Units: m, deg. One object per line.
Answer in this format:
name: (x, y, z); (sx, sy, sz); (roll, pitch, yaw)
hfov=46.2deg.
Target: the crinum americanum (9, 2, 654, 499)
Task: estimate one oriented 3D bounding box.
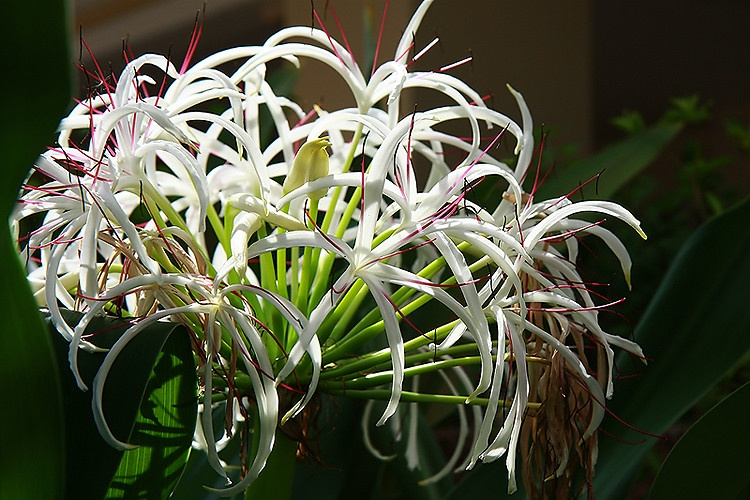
crinum americanum: (0.014, -0.035, 1.275); (0.678, 0.695, 0.746); (10, -8, 28)
